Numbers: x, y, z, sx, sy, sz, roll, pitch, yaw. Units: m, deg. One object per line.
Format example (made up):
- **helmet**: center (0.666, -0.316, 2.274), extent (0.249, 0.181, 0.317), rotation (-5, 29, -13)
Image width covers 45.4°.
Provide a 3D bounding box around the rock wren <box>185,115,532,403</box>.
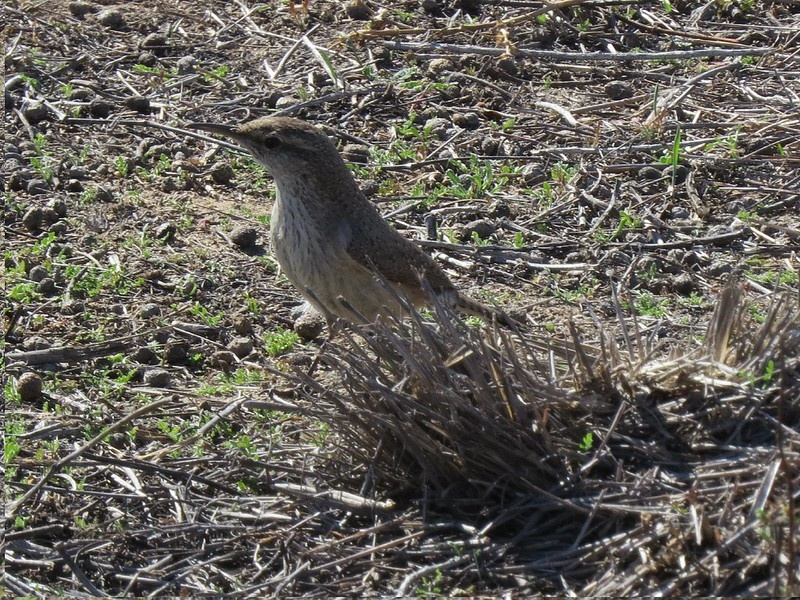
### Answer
- **rock wren**: center (-0.411, -0.355, 6.773), extent (1.207, 1.376, 2.521), rotation (2, -1, 34)
